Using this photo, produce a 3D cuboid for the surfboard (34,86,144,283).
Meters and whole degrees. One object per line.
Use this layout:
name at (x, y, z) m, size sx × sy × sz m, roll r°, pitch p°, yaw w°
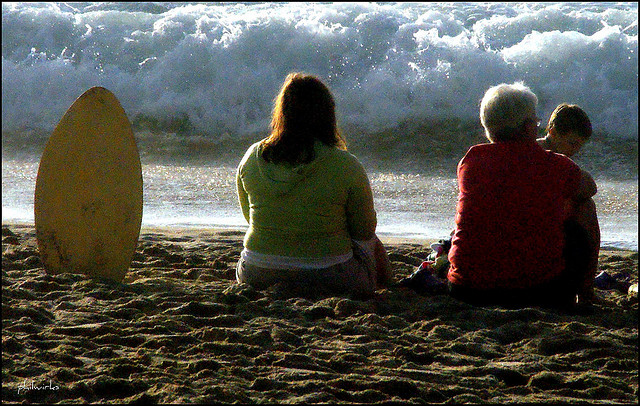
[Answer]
surfboard at (-3.723, -0.288, 19.215) m, size 1.714 × 3.142 × 0.536 m, roll -3°, pitch 11°, yaw -11°
